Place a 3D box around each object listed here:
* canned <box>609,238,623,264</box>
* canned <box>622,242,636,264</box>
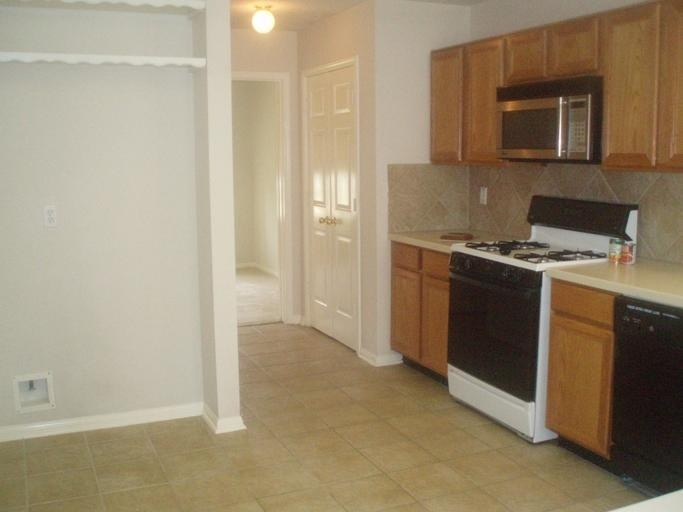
[{"bbox_3d":[1.705,-0.031,3.369,0.075,0.139,0.081,4,12,26],"label":"canned"},{"bbox_3d":[1.762,-0.017,3.319,0.080,0.128,0.066,0,11,7],"label":"canned"}]
